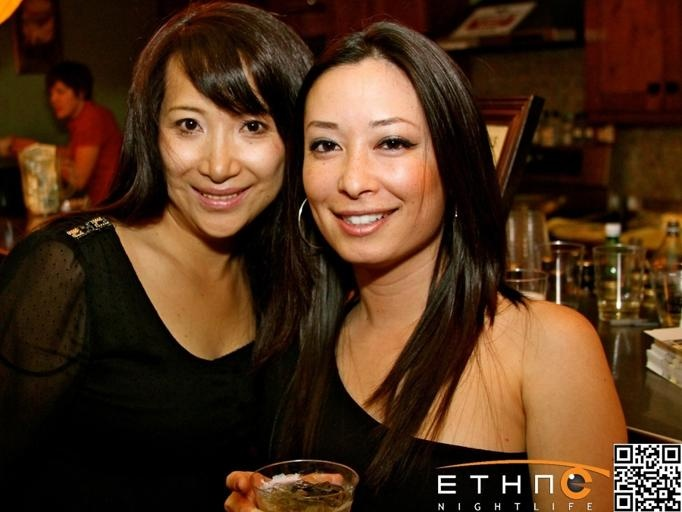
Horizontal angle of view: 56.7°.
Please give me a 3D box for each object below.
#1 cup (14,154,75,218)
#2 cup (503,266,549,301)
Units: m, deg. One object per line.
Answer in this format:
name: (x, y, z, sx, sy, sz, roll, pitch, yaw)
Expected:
cup: (-1.625, -0.403, 3.504, 0.190, 0.328, 0.195, 7, 36, -5)
cup: (0.617, 0.089, 2.104, 0.119, 0.113, 0.138, 1, -1, -1)
